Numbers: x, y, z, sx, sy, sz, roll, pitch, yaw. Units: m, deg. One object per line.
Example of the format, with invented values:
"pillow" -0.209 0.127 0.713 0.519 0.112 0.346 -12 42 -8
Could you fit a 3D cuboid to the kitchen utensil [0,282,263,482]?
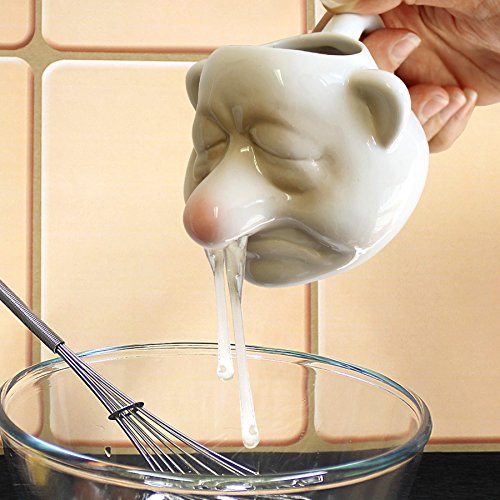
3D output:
"kitchen utensil" -0.081 0.087 0.472 0.170 0.123 0.058 3 8 8
